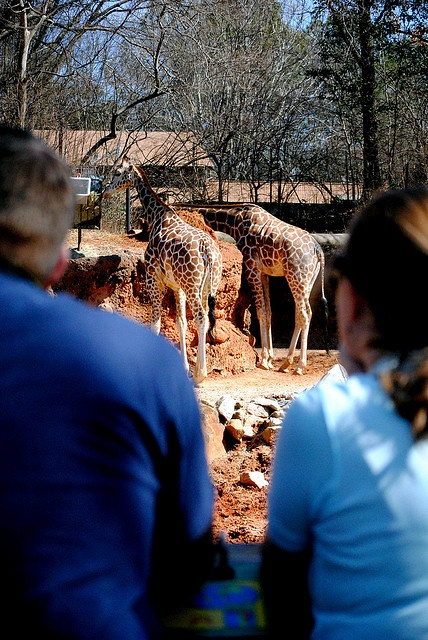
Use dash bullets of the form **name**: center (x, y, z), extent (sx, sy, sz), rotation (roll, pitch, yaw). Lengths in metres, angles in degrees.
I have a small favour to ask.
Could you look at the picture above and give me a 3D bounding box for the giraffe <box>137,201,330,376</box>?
- **giraffe**: center (0.801, -0.642, 10.478), extent (0.866, 2.620, 3.533), rotation (-7, 14, -35)
